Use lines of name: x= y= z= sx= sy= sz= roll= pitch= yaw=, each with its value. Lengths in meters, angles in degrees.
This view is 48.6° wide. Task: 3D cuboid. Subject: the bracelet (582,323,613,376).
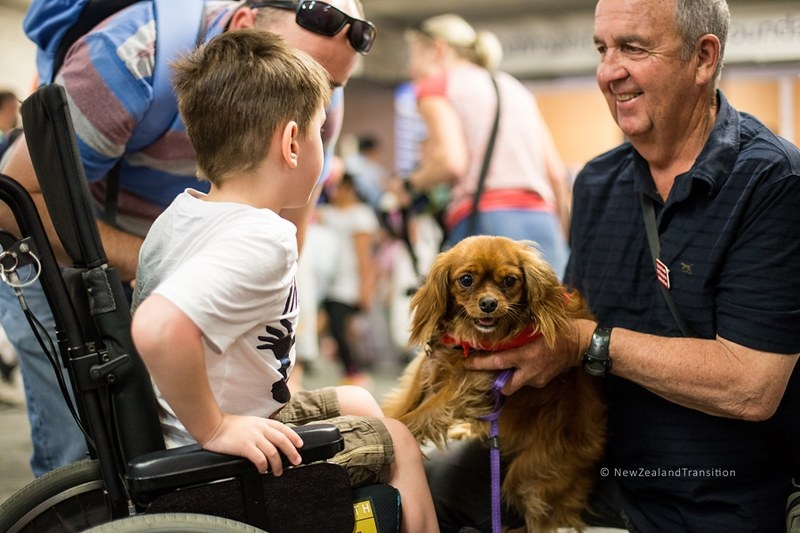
bracelet: x=0.918 y=0.394 z=4.068 sx=0.116 sy=0.215 sz=0.208 roll=6 pitch=40 yaw=22

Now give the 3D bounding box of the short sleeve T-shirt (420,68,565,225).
short sleeve T-shirt: x=0.594 y=-0.775 z=6.023 sx=0.670 sy=1.278 sz=1.164 roll=-9 pitch=-3 yaw=42

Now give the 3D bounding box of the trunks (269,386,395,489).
trunks: x=-0.249 y=0.725 z=3.866 sx=0.396 sy=0.391 sz=0.334 roll=0 pitch=7 yaw=5

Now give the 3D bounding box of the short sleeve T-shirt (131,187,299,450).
short sleeve T-shirt: x=-0.763 y=0.227 z=3.795 sx=0.612 sy=1.081 sz=0.977 roll=0 pitch=10 yaw=-26
